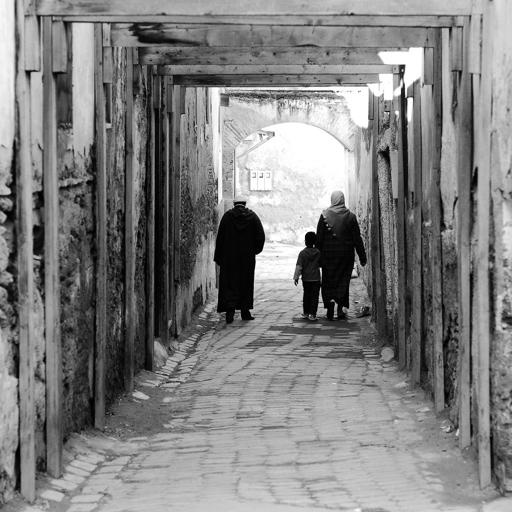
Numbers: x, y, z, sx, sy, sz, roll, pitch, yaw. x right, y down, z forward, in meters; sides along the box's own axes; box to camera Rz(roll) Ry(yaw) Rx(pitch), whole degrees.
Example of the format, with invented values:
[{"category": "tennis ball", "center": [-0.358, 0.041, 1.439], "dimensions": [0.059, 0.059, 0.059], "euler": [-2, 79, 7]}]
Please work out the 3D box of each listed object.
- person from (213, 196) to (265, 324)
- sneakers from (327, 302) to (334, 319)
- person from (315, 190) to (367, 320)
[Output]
[{"category": "person", "center": [-0.227, 0.043, 11.883], "dimensions": [0.646, 1.623, 0.603], "euler": [0, 5, -5]}, {"category": "sneakers", "center": [0.972, 0.701, 11.735], "dimensions": [0.057, 0.267, 0.082], "euler": [2, -2, -5]}, {"category": "person", "center": [1.116, -0.136, 11.906], "dimensions": [0.576, 1.838, 0.457], "euler": [1, 31, 7]}]
